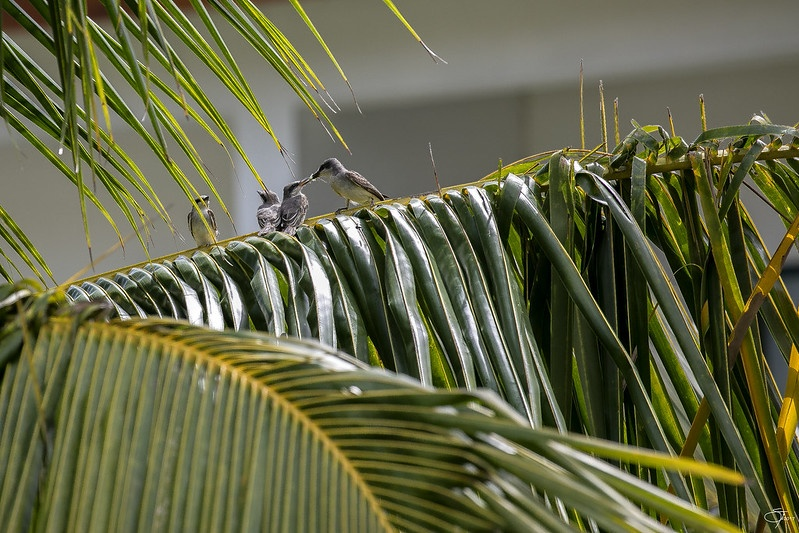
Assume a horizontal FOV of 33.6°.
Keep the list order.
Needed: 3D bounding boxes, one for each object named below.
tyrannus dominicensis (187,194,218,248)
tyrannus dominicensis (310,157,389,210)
[{"bbox_3d":[-0.735,-0.164,4.997,0.107,0.203,0.320,-8,1,-5],"label":"tyrannus dominicensis"},{"bbox_3d":[-0.168,-0.322,5.144,0.133,0.210,0.399,-11,-2,38],"label":"tyrannus dominicensis"}]
